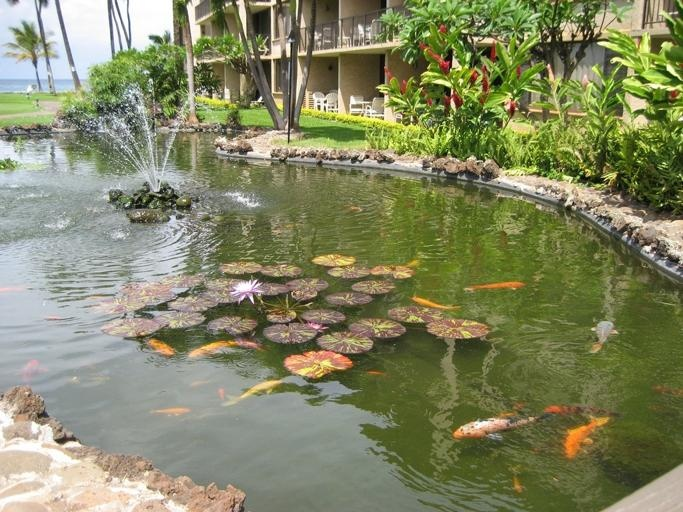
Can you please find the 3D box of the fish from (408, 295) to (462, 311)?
[{"bbox_3d":[0.958,0.513,5.848,0.538,0.069,0.256,6,16,31],"label":"fish"}]

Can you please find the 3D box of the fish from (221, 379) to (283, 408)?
[{"bbox_3d":[-0.720,1.097,4.430,0.540,0.045,0.132,-13,17,-36],"label":"fish"}]

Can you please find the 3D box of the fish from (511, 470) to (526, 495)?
[{"bbox_3d":[1.180,1.514,3.647,0.080,0.021,0.162,-4,26,6],"label":"fish"}]

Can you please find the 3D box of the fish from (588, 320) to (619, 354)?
[{"bbox_3d":[2.543,0.782,5.372,0.226,0.125,0.470,13,40,34],"label":"fish"}]

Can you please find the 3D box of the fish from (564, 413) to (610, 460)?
[{"bbox_3d":[1.783,1.311,4.041,0.170,0.049,0.534,14,23,32],"label":"fish"}]

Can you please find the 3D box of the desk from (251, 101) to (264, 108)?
[{"bbox_3d":[-5.636,-10.108,36.307,0.794,0.448,2.335,-5,14,-7],"label":"desk"}]

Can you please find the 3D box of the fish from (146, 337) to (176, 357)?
[{"bbox_3d":[-1.658,0.836,5.005,0.266,0.067,0.125,20,-14,12],"label":"fish"}]

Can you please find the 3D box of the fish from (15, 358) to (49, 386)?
[{"bbox_3d":[-2.630,0.975,4.646,0.218,0.067,0.412,-11,16,-30],"label":"fish"}]
